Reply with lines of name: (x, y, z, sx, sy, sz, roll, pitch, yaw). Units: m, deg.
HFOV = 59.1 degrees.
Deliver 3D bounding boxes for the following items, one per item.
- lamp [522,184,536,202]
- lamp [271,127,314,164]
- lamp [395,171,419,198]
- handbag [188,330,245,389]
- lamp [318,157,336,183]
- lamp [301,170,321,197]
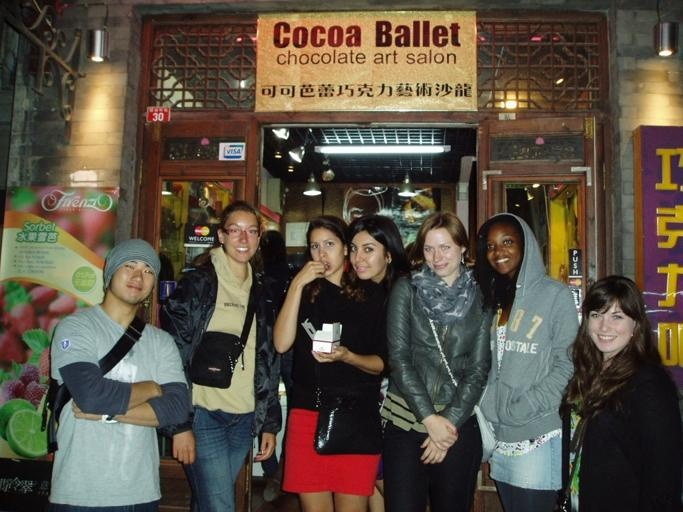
lamp: (1.764, -0.581, 5.648, 0.121, 0.114, 0.124, -2, -44, 7)
lamp: (-0.726, -1.556, 8.465, 0.538, 0.606, 0.434, 20, 9, 5)
lamp: (1.025, -1.160, 9.893, 0.318, 0.588, 0.340, 5, -17, -9)
handbag: (-0.854, 0.711, 4.168, 0.328, 0.377, 0.133, 9, -7, 0)
lamp: (-0.226, -1.356, 9.540, 0.286, 0.253, 0.485, -3, -23, 0)
lamp: (-0.466, -1.165, 9.761, 0.327, 0.383, 0.337, 1, -6, -1)
